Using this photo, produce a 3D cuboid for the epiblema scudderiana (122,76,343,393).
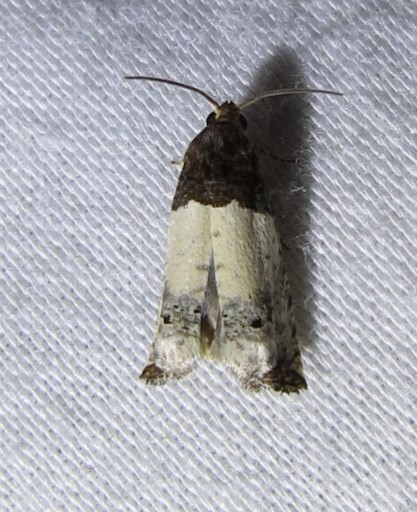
[{"bbox_3d":[0.030,-0.018,1.782,0.289,0.098,0.499,1,86,3],"label":"epiblema scudderiana"}]
